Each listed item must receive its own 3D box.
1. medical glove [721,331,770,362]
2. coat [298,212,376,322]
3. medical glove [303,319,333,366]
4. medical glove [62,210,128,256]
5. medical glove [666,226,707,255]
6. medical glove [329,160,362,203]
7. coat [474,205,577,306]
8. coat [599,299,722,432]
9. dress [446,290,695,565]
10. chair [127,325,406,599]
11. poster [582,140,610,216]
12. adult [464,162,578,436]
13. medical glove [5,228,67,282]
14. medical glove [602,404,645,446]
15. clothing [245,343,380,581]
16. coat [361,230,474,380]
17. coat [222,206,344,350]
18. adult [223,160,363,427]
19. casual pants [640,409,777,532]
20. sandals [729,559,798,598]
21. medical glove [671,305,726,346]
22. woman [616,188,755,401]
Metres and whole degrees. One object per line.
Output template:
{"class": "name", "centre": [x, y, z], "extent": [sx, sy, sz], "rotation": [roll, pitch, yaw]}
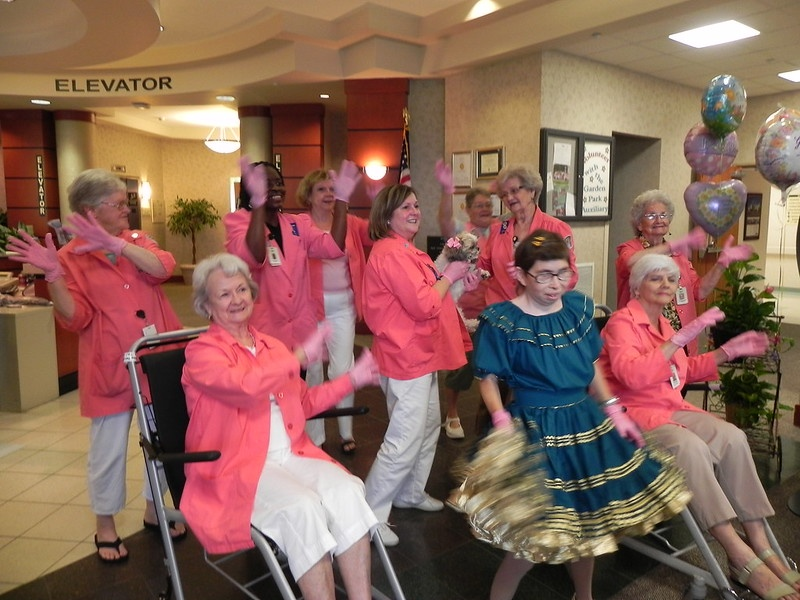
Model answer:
{"class": "medical glove", "centre": [1.823, 0.247, 3.023], "extent": [0.132, 0.242, 0.232], "rotation": [4, -1, 21]}
{"class": "coat", "centre": [-0.462, -0.201, 3.941], "extent": [0.192, 0.561, 0.731], "rotation": [-1, 4, 36]}
{"class": "medical glove", "centre": [-0.406, 0.221, 2.842], "extent": [0.097, 0.271, 0.150], "rotation": [-24, 63, -26]}
{"class": "medical glove", "centre": [-1.643, -0.345, 3.026], "extent": [0.259, 0.220, 0.319], "rotation": [-12, 14, -43]}
{"class": "medical glove", "centre": [1.844, -0.369, 3.670], "extent": [0.151, 0.240, 0.576], "rotation": [0, 10, 23]}
{"class": "medical glove", "centre": [-0.343, -0.756, 3.746], "extent": [0.197, 0.299, 0.074], "rotation": [10, 6, 7]}
{"class": "coat", "centre": [0.839, -0.231, 4.058], "extent": [0.662, 0.838, 0.404], "rotation": [6, -4, 35]}
{"class": "coat", "centre": [1.363, 0.358, 3.138], "extent": [0.636, 0.781, 0.628], "rotation": [-4, -6, 39]}
{"class": "dress", "centre": [0.718, 0.542, 2.591], "extent": [0.867, 1.091, 0.753], "rotation": [-8, -13, 3]}
{"class": "chair", "centre": [-0.767, 0.742, 3.092], "extent": [1.450, 1.503, 1.027], "rotation": [-1, 1, 36]}
{"class": "poster", "centre": [2.177, -1.380, 6.325], "extent": [0.065, 0.946, 0.752], "rotation": [2, 2, 37]}
{"class": "adult", "centre": [0.894, -0.082, 4.081], "extent": [0.690, 1.709, 0.667], "rotation": [-19, 25, -24]}
{"class": "medical glove", "centre": [-1.974, -0.242, 3.080], "extent": [0.214, 0.271, 0.686], "rotation": [-8, 12, -31]}
{"class": "medical glove", "centre": [1.007, 0.555, 2.554], "extent": [0.049, 0.125, 0.188], "rotation": [-36, 45, -6]}
{"class": "clothing", "centre": [-0.258, 0.809, 2.495], "extent": [0.389, 0.723, 0.560], "rotation": [-3, -27, -49]}
{"class": "coat", "centre": [0.092, 0.011, 3.264], "extent": [0.543, 0.779, 0.634], "rotation": [2, 13, 20]}
{"class": "coat", "centre": [-0.762, -0.131, 3.634], "extent": [0.451, 0.963, 0.627], "rotation": [-7, -3, 39]}
{"class": "adult", "centre": [-0.667, 0.093, 3.656], "extent": [0.718, 1.689, 0.622], "rotation": [-2, -13, -29]}
{"class": "casual pants", "centre": [1.477, 0.787, 2.842], "extent": [0.396, 0.250, 0.715], "rotation": [-6, 21, -10]}
{"class": "sandals", "centre": [1.652, 1.245, 2.527], "extent": [0.277, 0.161, 0.137], "rotation": [0, 10, 13]}
{"class": "medical glove", "centre": [1.841, 0.165, 3.493], "extent": [0.469, 0.161, 0.140], "rotation": [-28, 44, -30]}
{"class": "woman", "centre": [1.918, 0.120, 3.893], "extent": [0.751, 1.672, 0.680], "rotation": [1, 17, 33]}
